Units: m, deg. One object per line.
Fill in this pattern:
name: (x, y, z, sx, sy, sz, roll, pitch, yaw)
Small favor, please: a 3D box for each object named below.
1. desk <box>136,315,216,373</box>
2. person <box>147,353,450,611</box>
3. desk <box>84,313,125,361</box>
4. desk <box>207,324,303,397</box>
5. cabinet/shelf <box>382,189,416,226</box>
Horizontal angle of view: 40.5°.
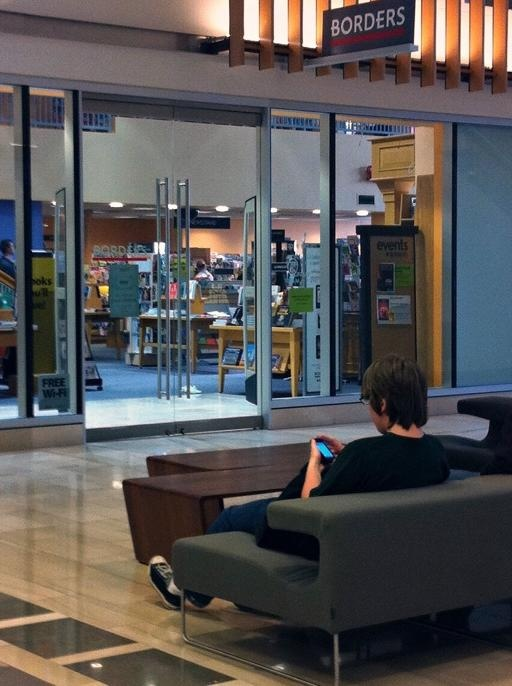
desk: (-0.841, -0.080, 7.232, 0.558, 0.732, 0.730, 1, 0, -38)
person: (0.128, 0.481, 2.245, 0.882, 0.882, 0.399, -1, -17, 43)
desk: (-1.539, -0.099, 7.239, 0.428, 0.456, 0.454, 2, 6, 21)
desk: (-0.063, 0.199, 7.754, 0.782, 0.716, 0.630, 4, -4, -9)
cabinet/shelf: (2.110, -1.991, 10.257, 0.426, 0.549, 1.608, -2, 0, 11)
